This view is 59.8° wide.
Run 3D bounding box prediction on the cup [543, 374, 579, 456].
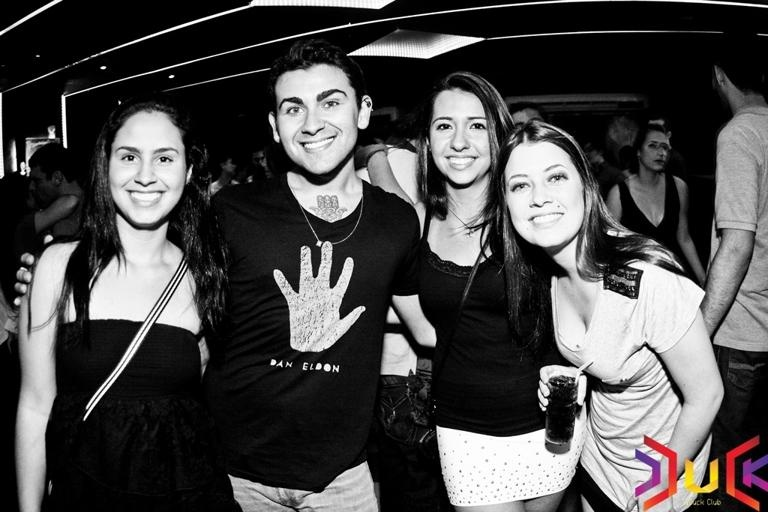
[{"bbox_3d":[0.950,0.825,3.569,0.161,0.377,0.113,3,8,10],"label":"cup"}]
